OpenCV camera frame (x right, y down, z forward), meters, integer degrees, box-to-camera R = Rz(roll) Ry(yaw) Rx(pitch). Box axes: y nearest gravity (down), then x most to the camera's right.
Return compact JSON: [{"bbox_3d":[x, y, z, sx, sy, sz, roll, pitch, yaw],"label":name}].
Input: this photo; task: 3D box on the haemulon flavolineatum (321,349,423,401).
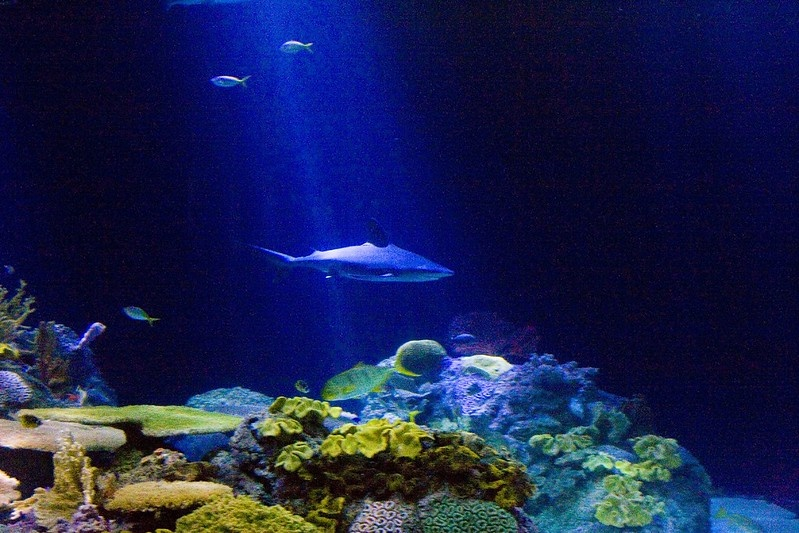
[{"bbox_3d":[-0.669,2.198,14.380,1.881,0.547,0.403,-12,14,-16],"label":"haemulon flavolineatum"}]
